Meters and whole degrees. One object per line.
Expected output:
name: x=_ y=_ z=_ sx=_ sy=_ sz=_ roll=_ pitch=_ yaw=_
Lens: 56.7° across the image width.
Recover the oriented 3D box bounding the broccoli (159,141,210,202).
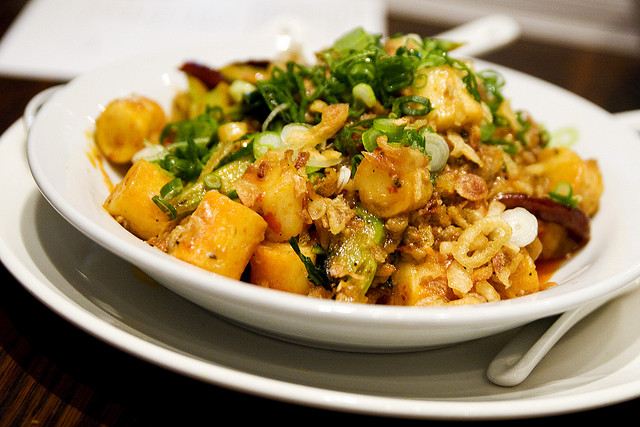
broccoli: x=-0.835 y=-0.241 z=3.626 sx=0.237 sy=0.098 sz=0.378 roll=27 pitch=64 yaw=10

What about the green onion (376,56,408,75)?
green onion: x=0.442 y=-0.906 z=3.637 sx=0.180 sy=0.048 sz=0.091 roll=-12 pitch=80 yaw=4

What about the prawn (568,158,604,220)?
prawn: x=1.710 y=-0.161 z=4.010 sx=0.215 sy=0.396 sz=0.233 roll=6 pitch=91 yaw=-1

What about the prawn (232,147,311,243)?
prawn: x=-0.246 y=-0.119 z=3.291 sx=0.394 sy=0.200 sz=0.492 roll=-11 pitch=78 yaw=10

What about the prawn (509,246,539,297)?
prawn: x=1.198 y=0.345 z=3.448 sx=0.190 sy=0.064 sz=0.248 roll=14 pitch=83 yaw=-26

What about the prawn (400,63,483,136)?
prawn: x=0.753 y=-0.699 z=3.665 sx=0.345 sy=0.395 sz=0.465 roll=-12 pitch=116 yaw=-30

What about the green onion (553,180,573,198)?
green onion: x=1.593 y=-0.155 z=3.875 sx=0.026 sy=0.107 sz=0.104 roll=-1 pitch=95 yaw=-33

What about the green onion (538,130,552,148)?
green onion: x=1.561 y=-0.521 z=4.136 sx=0.115 sy=0.061 sz=0.111 roll=-9 pitch=50 yaw=1
